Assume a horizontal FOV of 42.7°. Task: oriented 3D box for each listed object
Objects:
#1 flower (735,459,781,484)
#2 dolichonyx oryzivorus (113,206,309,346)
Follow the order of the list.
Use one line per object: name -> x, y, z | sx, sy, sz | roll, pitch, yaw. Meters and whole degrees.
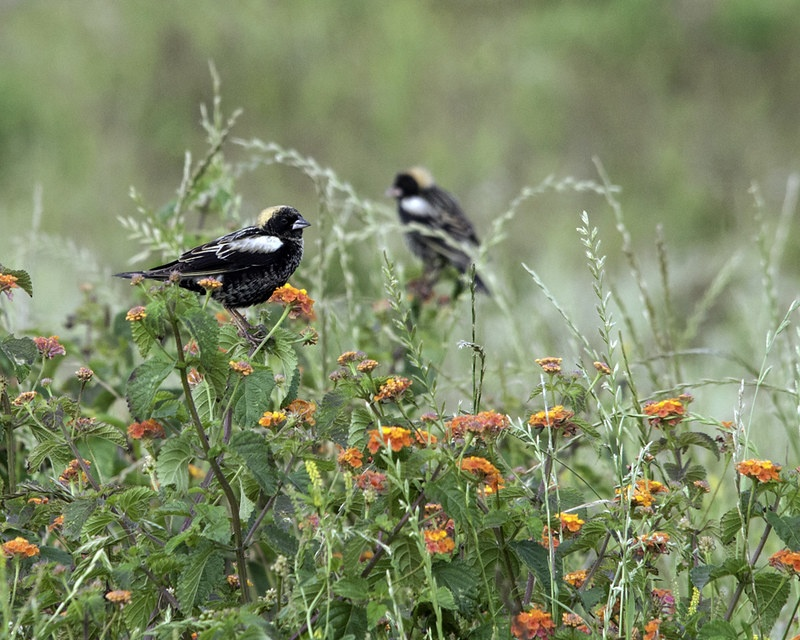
flower -> 1.058, 0.440, 3.015 | 0.086, 0.045, 0.086 | 1, 6, -45
dolichonyx oryzivorus -> -0.737, -0.205, 4.125 | 0.678, 0.534, 0.254 | 3, -3, -3
